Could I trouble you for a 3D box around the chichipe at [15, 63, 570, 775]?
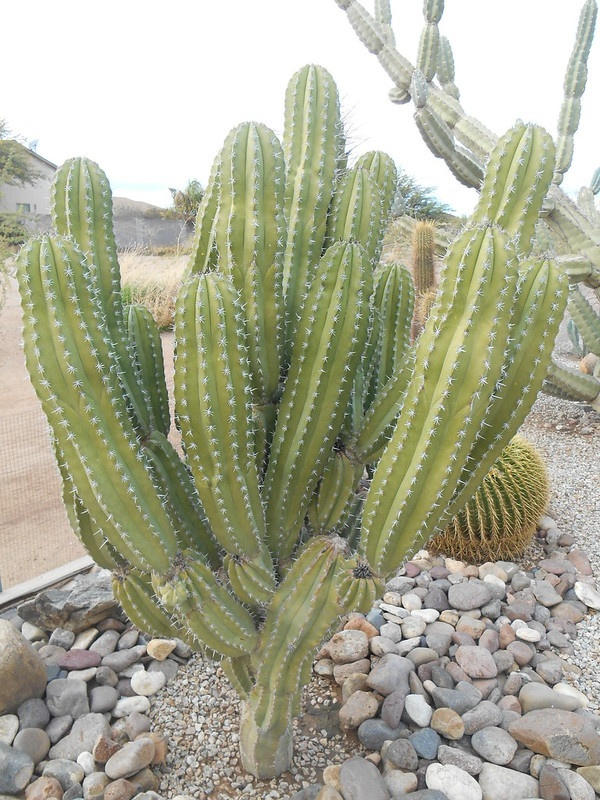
[{"bbox_3d":[-0.113,0.170,2.314,1.358,2.032,0.963,0,26,-18],"label":"chichipe"}]
